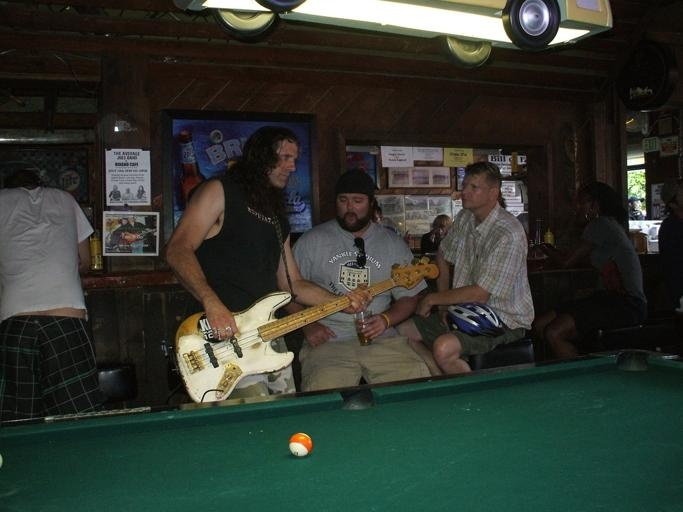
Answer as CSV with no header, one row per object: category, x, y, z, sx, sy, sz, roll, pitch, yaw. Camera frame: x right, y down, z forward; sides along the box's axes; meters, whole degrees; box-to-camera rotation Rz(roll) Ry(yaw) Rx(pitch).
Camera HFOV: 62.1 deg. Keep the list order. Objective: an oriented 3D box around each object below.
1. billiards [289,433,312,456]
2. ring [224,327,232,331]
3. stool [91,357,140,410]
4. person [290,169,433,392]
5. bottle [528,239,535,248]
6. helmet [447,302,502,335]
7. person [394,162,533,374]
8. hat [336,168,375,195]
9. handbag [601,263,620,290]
billiards,-0.144,0.660,2.006,0.074,0.074,0.072,0,-24,-29
ring,-0.565,0.361,2.809,0.023,0.007,0.031,2,4,-3
stool,-1.662,0.942,4.214,0.432,0.217,0.419,-4,-1,-28
person,0.135,0.163,3.872,0.985,1.415,0.991,-6,15,-21
bottle,2.086,-0.129,6.241,0.092,0.086,0.096,2,0,15
helmet,0.891,0.409,3.821,0.301,0.122,0.193,10,18,0
person,0.855,0.190,4.212,1.061,1.611,0.939,0,12,13
hat,0.075,-0.506,3.986,0.205,0.129,0.198,-4,5,-41
handbag,2.372,0.186,4.989,0.059,0.196,0.131,9,-44,-17
